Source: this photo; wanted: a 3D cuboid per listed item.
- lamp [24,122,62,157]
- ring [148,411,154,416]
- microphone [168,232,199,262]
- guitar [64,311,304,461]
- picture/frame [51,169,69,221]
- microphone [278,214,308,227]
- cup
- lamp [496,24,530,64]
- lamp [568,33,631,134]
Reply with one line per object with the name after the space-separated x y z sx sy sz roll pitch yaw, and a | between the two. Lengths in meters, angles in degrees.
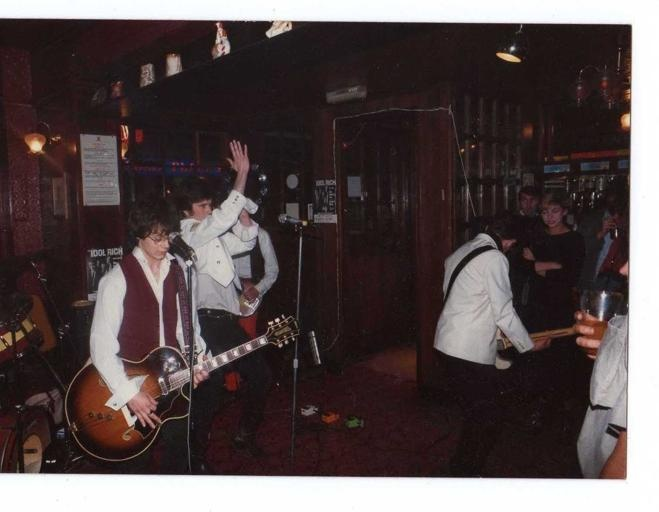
-2.969 -1.204 5.571 0.298 0.346 0.188 4 -13 -25 | lamp
-1.194 1.036 3.601 0.031 0.035 0.008 -3 0 -15 | ring
-0.963 -0.061 3.548 0.123 0.160 0.376 -11 4 -18 | microphone
-0.938 0.761 3.871 1.873 0.779 0.258 -27 1 -18 | guitar
-2.910 -0.670 5.947 0.096 0.466 0.290 -6 19 -17 | picture/frame
-0.301 -0.282 4.384 0.219 0.072 0.158 11 -14 -14 | microphone
1.330 0.339 2.673 0.205 0.306 0.320 4 9 29 | cup
1.389 -1.598 4.111 0.201 0.216 0.257 3 9 26 | lamp
2.569 -1.651 4.980 0.450 0.701 0.459 -13 32 -34 | lamp
